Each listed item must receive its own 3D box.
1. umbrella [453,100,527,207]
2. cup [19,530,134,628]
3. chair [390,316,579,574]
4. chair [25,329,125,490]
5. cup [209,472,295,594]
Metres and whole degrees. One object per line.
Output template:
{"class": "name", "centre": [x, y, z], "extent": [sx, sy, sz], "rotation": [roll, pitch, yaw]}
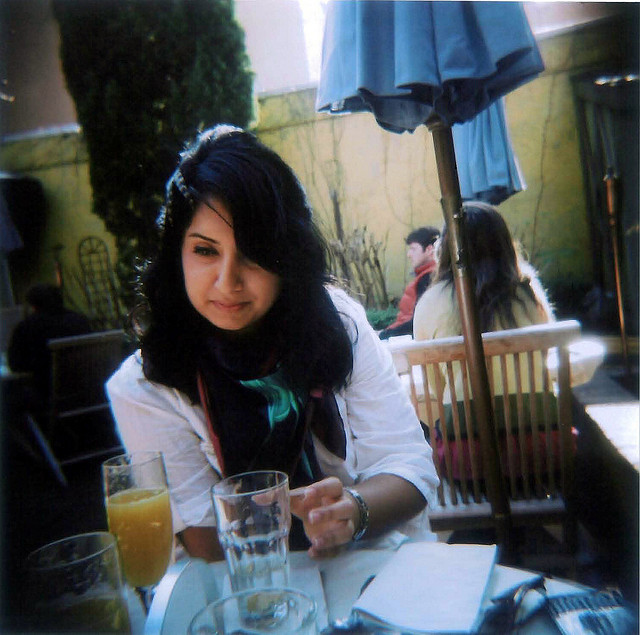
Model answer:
{"class": "umbrella", "centre": [0.416, -0.405, 1.525], "extent": [0.118, 0.359, 0.100], "rotation": [-9, -7, -12]}
{"class": "cup", "centre": [-0.364, 0.358, 0.965], "extent": [0.122, 0.190, 0.149], "rotation": [-2, -11, -11]}
{"class": "chair", "centre": [0.454, 0.307, 1.855], "extent": [0.442, 0.984, 0.561], "rotation": [-4, 13, 9]}
{"class": "chair", "centre": [-0.598, 0.213, 1.519], "extent": [0.211, 0.484, 0.260], "rotation": [-8, 13, -29]}
{"class": "cup", "centre": [-0.104, 0.366, 1.029], "extent": [0.103, 0.228, 0.123], "rotation": [-8, -4, -8]}
